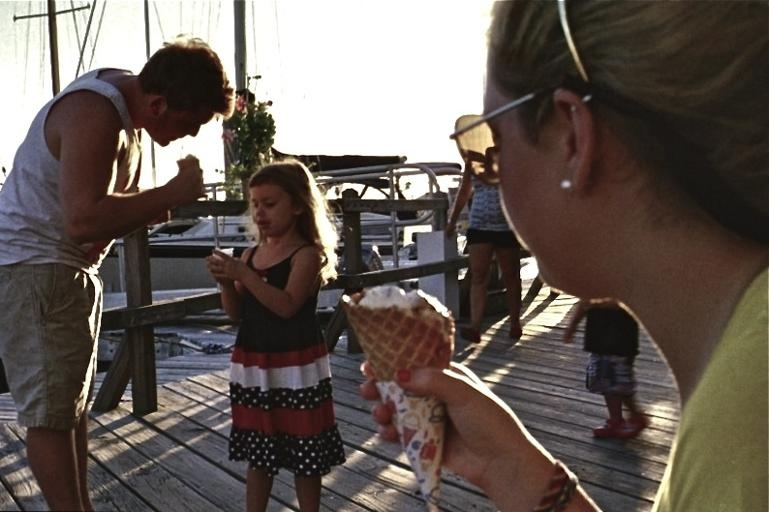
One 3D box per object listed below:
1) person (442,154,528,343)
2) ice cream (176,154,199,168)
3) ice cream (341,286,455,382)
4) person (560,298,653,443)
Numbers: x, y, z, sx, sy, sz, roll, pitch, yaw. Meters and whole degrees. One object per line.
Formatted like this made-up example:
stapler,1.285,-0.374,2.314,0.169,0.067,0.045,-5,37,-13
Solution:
person,0.887,-0.065,5.406,0.508,1.707,0.764,1,2,42
ice cream,-0.810,-0.385,2.607,0.061,0.050,0.071,0,-9,-45
ice cream,0.035,0.202,1.664,0.239,0.183,0.237,-5,-6,7
person,1.149,0.406,3.249,0.326,1.109,0.353,-13,20,-3
